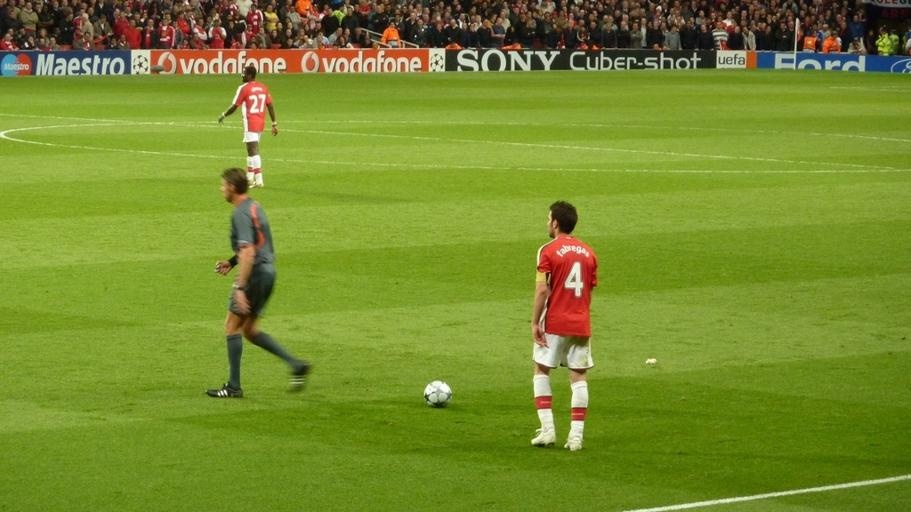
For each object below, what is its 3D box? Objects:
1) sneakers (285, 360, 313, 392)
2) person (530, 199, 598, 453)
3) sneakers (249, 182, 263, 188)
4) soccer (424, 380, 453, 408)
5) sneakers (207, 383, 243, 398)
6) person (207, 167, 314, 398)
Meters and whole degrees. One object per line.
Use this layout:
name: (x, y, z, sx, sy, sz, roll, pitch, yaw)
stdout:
sneakers: (-2.492, 1.938, 24.227, 0.265, 0.615, 0.265, 14, 48, -15)
person: (1.589, 1.047, 23.135, 0.899, 3.662, 0.793, 1, 10, 4)
sneakers: (-4.563, -1.616, 35.150, 0.288, 0.095, 0.116, 4, 7, 26)
soccer: (-0.301, 2.160, 24.043, 0.402, 0.388, 0.155, 0, 10, -1)
sneakers: (-3.622, 2.121, 24.241, 0.655, 0.211, 0.201, 3, 0, 4)
person: (-3.210, 0.407, 24.218, 1.409, 3.558, 1.065, -2, 10, -8)
